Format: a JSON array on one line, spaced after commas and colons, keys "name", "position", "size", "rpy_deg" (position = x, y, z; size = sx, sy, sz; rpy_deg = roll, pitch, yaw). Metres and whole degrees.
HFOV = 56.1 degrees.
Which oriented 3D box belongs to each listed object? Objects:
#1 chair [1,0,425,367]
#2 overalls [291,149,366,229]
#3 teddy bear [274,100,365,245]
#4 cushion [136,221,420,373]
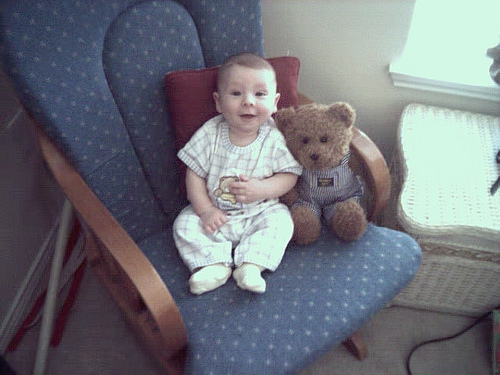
[{"name": "chair", "position": [-0.176, 0.020, 1.736], "size": [0.725, 1.020, 0.943], "rpy_deg": [-31, 71, -13]}, {"name": "overalls", "position": [0.260, -0.028, 1.778], "size": [0.285, 0.412, 0.275], "rpy_deg": [-4, 7, 17]}, {"name": "teddy bear", "position": [0.255, -0.043, 1.731], "size": [0.355, 0.506, 0.354], "rpy_deg": [-5, 31, 6]}, {"name": "cushion", "position": [0.145, 0.376, 1.615], "size": [0.938, 0.133, 0.472], "rpy_deg": [-11, 49, -1]}]
